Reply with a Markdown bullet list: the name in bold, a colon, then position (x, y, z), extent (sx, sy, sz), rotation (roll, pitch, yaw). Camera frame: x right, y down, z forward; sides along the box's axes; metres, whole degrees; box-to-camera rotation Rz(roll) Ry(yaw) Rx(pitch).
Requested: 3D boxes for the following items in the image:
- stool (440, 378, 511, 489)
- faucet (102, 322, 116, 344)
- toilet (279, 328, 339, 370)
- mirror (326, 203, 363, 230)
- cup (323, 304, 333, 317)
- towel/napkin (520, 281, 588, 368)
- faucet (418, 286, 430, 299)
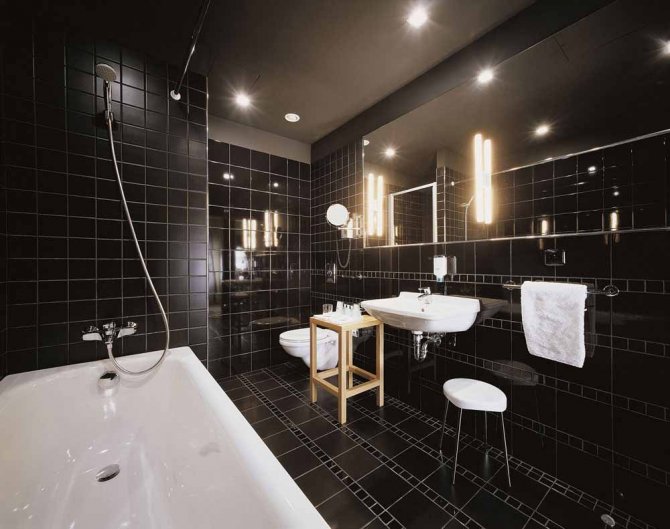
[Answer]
- **stool**: position (0.988, 1.073, 3.031), extent (0.371, 0.465, 0.376), rotation (-5, 11, -4)
- **faucet**: position (-1.537, 0.484, 3.125), extent (0.085, 0.171, 0.182), rotation (-2, 13, -27)
- **toilet**: position (-0.228, 0.734, 4.082), extent (0.458, 0.364, 0.323), rotation (-5, 5, -37)
- **mirror**: position (0.084, -0.450, 4.312), extent (0.069, 0.235, 0.515), rotation (-5, 15, -35)
- **cup**: position (-0.066, 0.388, 3.983), extent (0.070, 0.091, 0.076), rotation (1, -7, 0)
- **towel/napkin**: position (1.348, 0.351, 2.847), extent (0.367, 0.554, 0.079), rotation (7, 25, 38)
- **faucet**: position (0.674, 0.205, 3.509), extent (0.042, 0.094, 0.147), rotation (3, -12, -15)
